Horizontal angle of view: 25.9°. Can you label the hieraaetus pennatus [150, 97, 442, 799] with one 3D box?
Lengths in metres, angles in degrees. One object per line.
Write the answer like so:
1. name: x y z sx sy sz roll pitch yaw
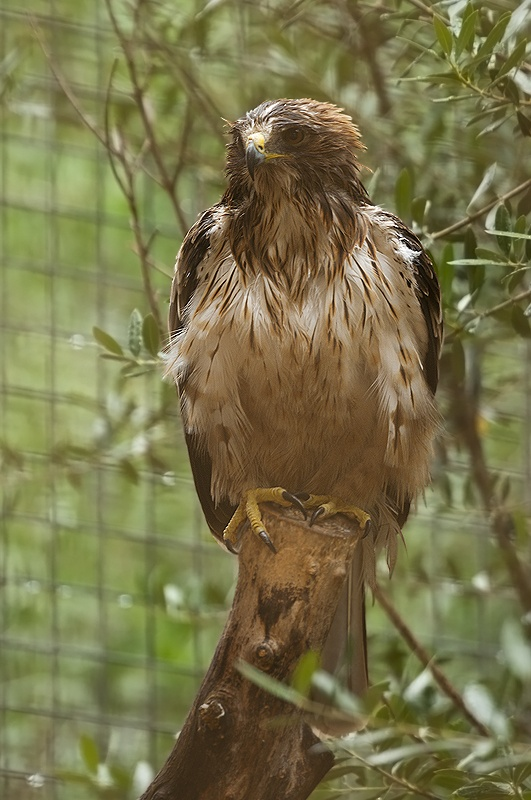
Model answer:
1. hieraaetus pennatus: 0.072 0.000 2.158 0.521 1.075 0.489 3 -21 -5
